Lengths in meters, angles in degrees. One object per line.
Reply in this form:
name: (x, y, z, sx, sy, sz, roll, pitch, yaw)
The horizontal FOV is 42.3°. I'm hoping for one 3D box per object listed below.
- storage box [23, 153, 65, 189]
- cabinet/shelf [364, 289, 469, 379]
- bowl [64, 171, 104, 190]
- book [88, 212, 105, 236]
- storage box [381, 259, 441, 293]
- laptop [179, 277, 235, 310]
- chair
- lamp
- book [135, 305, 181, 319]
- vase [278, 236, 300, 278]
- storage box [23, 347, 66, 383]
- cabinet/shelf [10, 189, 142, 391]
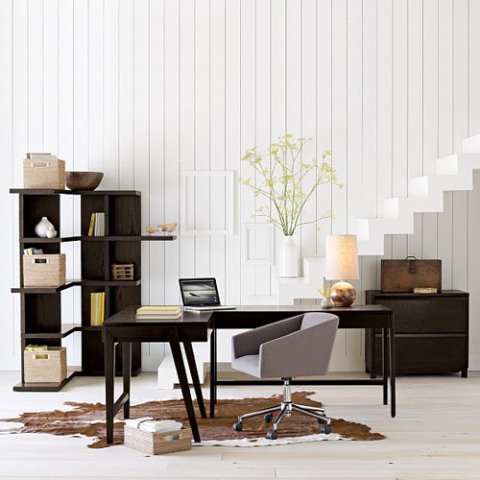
storage box: (-1.853, -0.611, 5.757, 0.242, 0.231, 0.256, -4, 15, -34)
cabinet/shelf: (1.732, 0.834, 6.091, 0.962, 1.031, 0.667, -1, -1, 1)
bowl: (-1.491, -0.561, 5.946, 0.340, 0.184, 0.155, -1, 3, -20)
book: (-1.374, -0.144, 5.976, 0.150, 0.254, 0.230, 1, -4, -8)
storage box: (1.645, 0.345, 5.953, 0.558, 0.307, 0.088, 1, 3, 10)
laptop: (-0.311, 0.427, 4.864, 0.273, 0.240, 0.267, 2, -3, -31)
chair: (0.325, 0.972, 4.597, 0.616, 0.935, 0.641, 2, -3, -19)
lamp: (0.847, 0.230, 5.185, 0.252, 0.570, 0.786, 0, 3, 9)
book: (-0.566, 0.509, 4.347, 0.324, 0.064, 0.213, -1, 4, -11)
vase: (0.485, 0.159, 6.009, 0.226, 0.402, 0.385, 0, 3, 6)
storage box: (-1.788, 1.058, 5.717, 0.237, 0.315, 0.405, 1, -1, 1)
cabinet/shelf: (-1.550, 0.435, 6.070, 1.123, 2.037, 0.660, 2, 20, -14)
